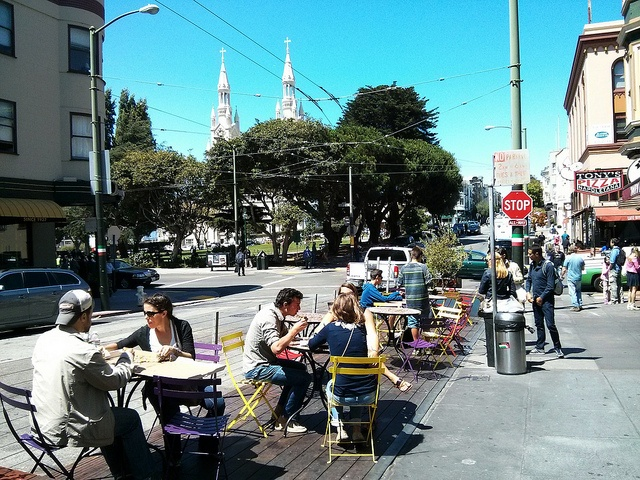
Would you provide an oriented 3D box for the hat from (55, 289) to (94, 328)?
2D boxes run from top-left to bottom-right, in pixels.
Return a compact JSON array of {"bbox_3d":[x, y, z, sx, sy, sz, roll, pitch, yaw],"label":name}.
[{"bbox_3d":[-2.891,0.753,6.919,0.320,0.297,0.559,5,22,9],"label":"hat"}]

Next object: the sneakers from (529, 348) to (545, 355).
[{"bbox_3d":[4.536,2.326,12.359,0.275,0.121,0.131,2,-5,-18],"label":"sneakers"}]

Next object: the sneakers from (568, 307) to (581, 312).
[{"bbox_3d":[7.684,2.130,17.917,0.098,0.215,0.284,-2,1,-43],"label":"sneakers"}]

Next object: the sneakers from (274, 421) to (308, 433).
[{"bbox_3d":[-0.427,2.763,8.702,0.393,0.187,0.180,0,-2,3],"label":"sneakers"}]

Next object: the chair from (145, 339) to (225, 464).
[{"bbox_3d":[-1.683,2.358,7.485,0.822,1.358,0.954,1,-20,-11],"label":"chair"}]

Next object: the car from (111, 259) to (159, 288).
[{"bbox_3d":[-10.652,1.915,32.781,3.263,1.223,1.495,-3,0,14],"label":"car"}]

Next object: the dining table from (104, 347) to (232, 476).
[{"bbox_3d":[-1.721,2.237,7.873,1.197,1.980,1.317,0,-3,2],"label":"dining table"}]

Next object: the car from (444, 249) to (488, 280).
[{"bbox_3d":[6.954,1.281,28.471,2.160,1.162,1.263,-2,2,8],"label":"car"}]

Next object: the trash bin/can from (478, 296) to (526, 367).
[{"bbox_3d":[3.813,1.845,12.005,1.070,1.504,1.150,-3,-5,25],"label":"trash bin/can"}]

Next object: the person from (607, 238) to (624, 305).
[{"bbox_3d":[9.393,0.999,19.041,0.706,2.056,0.717,2,-1,-43],"label":"person"}]

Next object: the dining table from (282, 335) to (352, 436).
[{"bbox_3d":[-0.070,2.284,9.596,1.496,1.231,1.555,-3,-8,43],"label":"dining table"}]

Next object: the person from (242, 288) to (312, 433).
[{"bbox_3d":[-0.625,1.802,8.633,0.963,1.486,0.617,-3,2,-7],"label":"person"}]

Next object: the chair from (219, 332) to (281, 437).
[{"bbox_3d":[-1.138,2.189,9.604,0.841,1.270,0.870,-4,11,-26],"label":"chair"}]

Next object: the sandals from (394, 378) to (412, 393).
[{"bbox_3d":[1.293,2.268,9.119,0.199,0.124,0.341,-34,-1,-10],"label":"sandals"}]

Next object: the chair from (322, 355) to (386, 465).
[{"bbox_3d":[0.472,2.411,8.336,0.721,0.988,1.366,10,-40,8],"label":"chair"}]

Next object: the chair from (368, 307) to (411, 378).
[{"bbox_3d":[1.506,2.066,12.492,0.816,1.058,0.862,0,-4,5],"label":"chair"}]

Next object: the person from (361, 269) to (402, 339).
[{"bbox_3d":[1.388,1.244,12.512,0.801,1.308,0.569,-5,16,26],"label":"person"}]

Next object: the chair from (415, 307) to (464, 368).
[{"bbox_3d":[2.353,2.115,11.901,0.676,0.790,0.642,-5,-9,-35],"label":"chair"}]

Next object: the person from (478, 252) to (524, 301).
[{"bbox_3d":[4.022,0.824,13.041,0.688,1.248,1.179,-12,13,-39],"label":"person"}]

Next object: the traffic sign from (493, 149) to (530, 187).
[{"bbox_3d":[3.806,-1.441,11.854,0.701,0.739,0.557,-3,1,11],"label":"traffic sign"}]

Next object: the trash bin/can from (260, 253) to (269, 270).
[{"bbox_3d":[-4.163,1.646,44.588,0.439,0.873,1.107,-3,1,6],"label":"trash bin/can"}]

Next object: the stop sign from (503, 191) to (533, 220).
[{"bbox_3d":[4.290,-0.749,12.918,0.611,0.627,0.291,-3,1,15],"label":"stop sign"}]

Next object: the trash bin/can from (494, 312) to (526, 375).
[{"bbox_3d":[3.606,1.923,11.199,0.655,1.147,0.626,-5,4,-38],"label":"trash bin/can"}]

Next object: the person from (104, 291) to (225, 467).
[{"bbox_3d":[-2.147,1.950,8.164,1.434,2.300,1.060,-4,-14,-30],"label":"person"}]

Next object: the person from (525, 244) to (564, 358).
[{"bbox_3d":[4.607,1.247,12.210,0.670,2.290,0.701,-2,2,20],"label":"person"}]

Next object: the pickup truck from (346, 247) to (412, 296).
[{"bbox_3d":[2.066,1.108,21.961,1.298,1.082,2.471,0,4,24],"label":"pickup truck"}]
